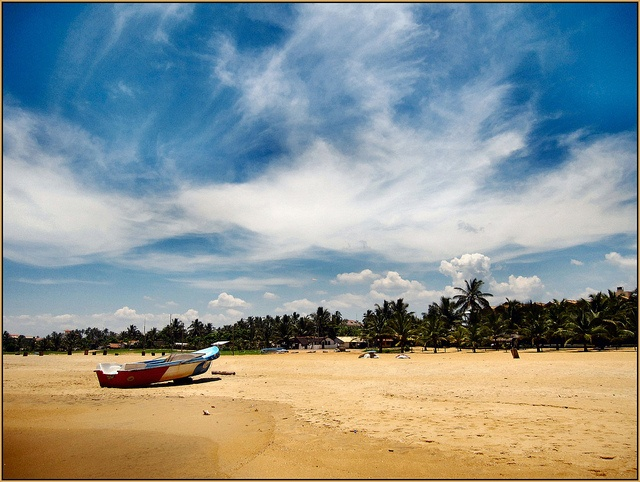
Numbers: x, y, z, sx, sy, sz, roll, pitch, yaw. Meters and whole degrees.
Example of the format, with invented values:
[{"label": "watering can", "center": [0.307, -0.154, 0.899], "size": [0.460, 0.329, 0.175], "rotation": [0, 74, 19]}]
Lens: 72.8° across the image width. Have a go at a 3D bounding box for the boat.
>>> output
[{"label": "boat", "center": [-10.178, 8.281, 29.094], "size": [7.377, 2.174, 2.850], "rotation": [5, -17, -44]}]
